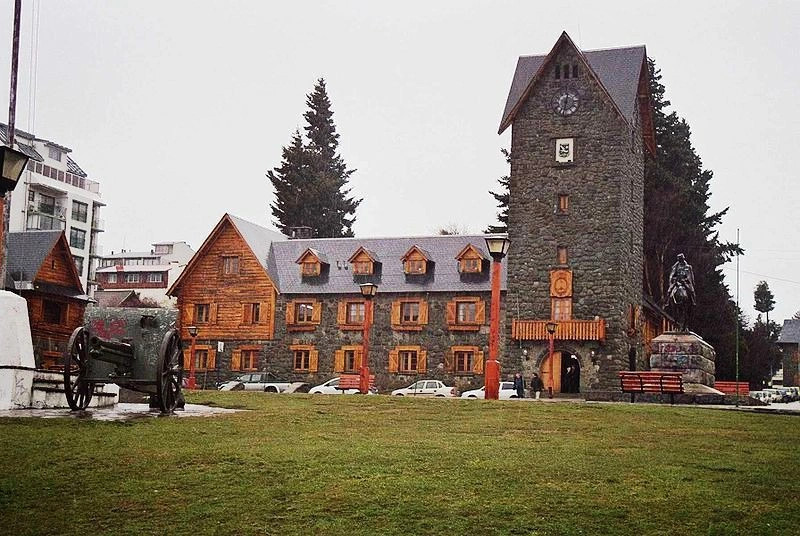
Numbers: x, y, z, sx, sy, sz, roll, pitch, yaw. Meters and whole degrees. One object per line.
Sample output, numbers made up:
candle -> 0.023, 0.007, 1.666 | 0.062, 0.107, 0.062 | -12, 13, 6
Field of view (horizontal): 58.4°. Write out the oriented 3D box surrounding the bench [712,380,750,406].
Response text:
bench -> 16.407, 5.928, 35.504 | 1.502, 1.036, 9.075 | 2, -1, 25

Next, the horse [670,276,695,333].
horse -> 14.033, 2.040, 35.957 | 1.166, 0.762, 3.500 | 4, -48, 12

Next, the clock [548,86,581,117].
clock -> 10.794, -10.961, 46.999 | 2.143, 2.112, 0.282 | 1, -4, 18

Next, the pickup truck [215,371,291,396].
pickup truck -> -9.811, 7.758, 49.098 | 4.372, 1.357, 3.040 | 2, -1, 22
